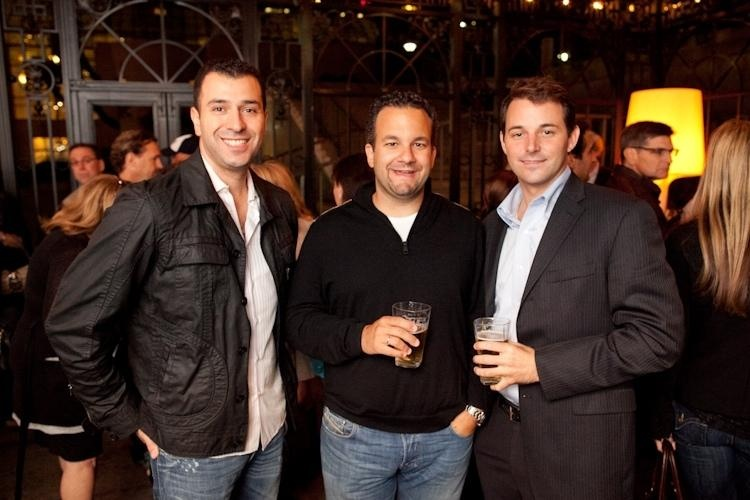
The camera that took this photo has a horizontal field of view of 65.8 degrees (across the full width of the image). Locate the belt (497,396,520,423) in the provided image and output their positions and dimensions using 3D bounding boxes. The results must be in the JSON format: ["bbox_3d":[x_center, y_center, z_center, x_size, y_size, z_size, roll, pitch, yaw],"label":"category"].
[{"bbox_3d":[0.646,0.768,2.802,0.100,0.039,0.079,40,21,27],"label":"belt"}]
